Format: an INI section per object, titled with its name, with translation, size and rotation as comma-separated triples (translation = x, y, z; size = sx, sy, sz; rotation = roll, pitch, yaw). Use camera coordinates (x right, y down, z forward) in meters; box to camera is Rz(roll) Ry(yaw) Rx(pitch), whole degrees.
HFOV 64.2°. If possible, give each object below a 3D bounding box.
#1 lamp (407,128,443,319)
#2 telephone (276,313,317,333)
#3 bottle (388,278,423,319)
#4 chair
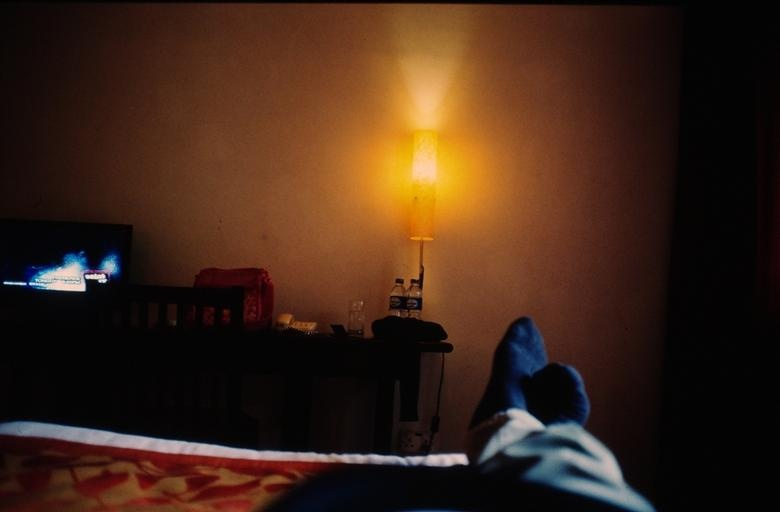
[lamp]
translation = 0.182, -0.190, 3.472
size = 0.156, 1.049, 0.209
rotation = 3, -4, 3
[telephone]
translation = -0.495, 0.375, 3.365
size = 0.164, 0.058, 0.117
rotation = 5, -5, 1
[bottle]
translation = 0.095, 0.242, 3.415
size = 0.191, 0.260, 0.103
rotation = 3, -21, -5
[chair]
translation = -1.013, 0.432, 2.970
size = 0.943, 0.618, 0.486
rotation = -1, 19, -4
